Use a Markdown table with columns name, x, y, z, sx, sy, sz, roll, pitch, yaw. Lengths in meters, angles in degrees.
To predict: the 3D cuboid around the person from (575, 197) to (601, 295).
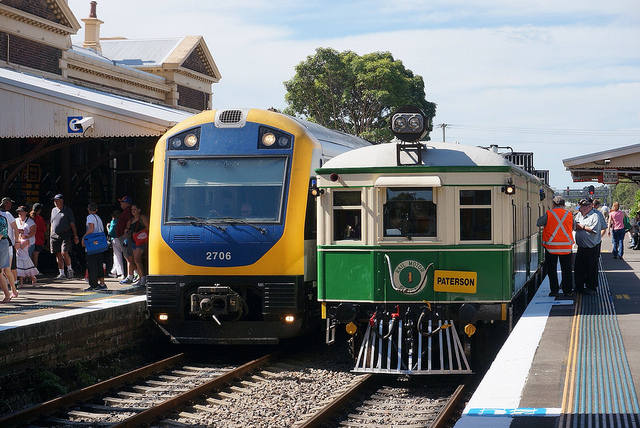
| name | x | y | z | sx | sy | sz | roll | pitch | yaw |
| --- | --- | --- | --- | --- | --- | --- | --- | --- | --- |
| person | 5.818 | 0.715 | 14.788 | 0.499 | 1.980 | 1.221 | 2 | 7 | 22 |

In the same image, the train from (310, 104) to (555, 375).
| name | x | y | z | sx | sy | sz | roll | pitch | yaw |
| --- | --- | --- | --- | --- | --- | --- | --- | --- | --- |
| train | 1.646 | 0.418 | 11.612 | 3.256 | 4.494 | 0.960 | 0 | 7 | 6 |

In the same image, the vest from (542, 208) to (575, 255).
| name | x | y | z | sx | sy | sz | roll | pitch | yaw |
| --- | --- | --- | --- | --- | --- | --- | --- | --- | --- |
| vest | 5.016 | 0.331 | 14.393 | 0.705 | 0.992 | 0.553 | -1 | 3 | -3 |

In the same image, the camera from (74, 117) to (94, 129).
| name | x | y | z | sx | sy | sz | roll | pitch | yaw |
| --- | --- | --- | --- | --- | --- | --- | --- | --- | --- |
| camera | -5.860 | -2.276 | 17.020 | 0.413 | 0.245 | 0.233 | 1 | 7 | -37 |

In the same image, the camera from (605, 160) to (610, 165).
| name | x | y | z | sx | sy | sz | roll | pitch | yaw |
| --- | --- | --- | --- | --- | --- | --- | --- | --- | --- |
| camera | 10.736 | -1.936 | 25.489 | 0.124 | 0.168 | 0.233 | 0 | 7 | 6 |
